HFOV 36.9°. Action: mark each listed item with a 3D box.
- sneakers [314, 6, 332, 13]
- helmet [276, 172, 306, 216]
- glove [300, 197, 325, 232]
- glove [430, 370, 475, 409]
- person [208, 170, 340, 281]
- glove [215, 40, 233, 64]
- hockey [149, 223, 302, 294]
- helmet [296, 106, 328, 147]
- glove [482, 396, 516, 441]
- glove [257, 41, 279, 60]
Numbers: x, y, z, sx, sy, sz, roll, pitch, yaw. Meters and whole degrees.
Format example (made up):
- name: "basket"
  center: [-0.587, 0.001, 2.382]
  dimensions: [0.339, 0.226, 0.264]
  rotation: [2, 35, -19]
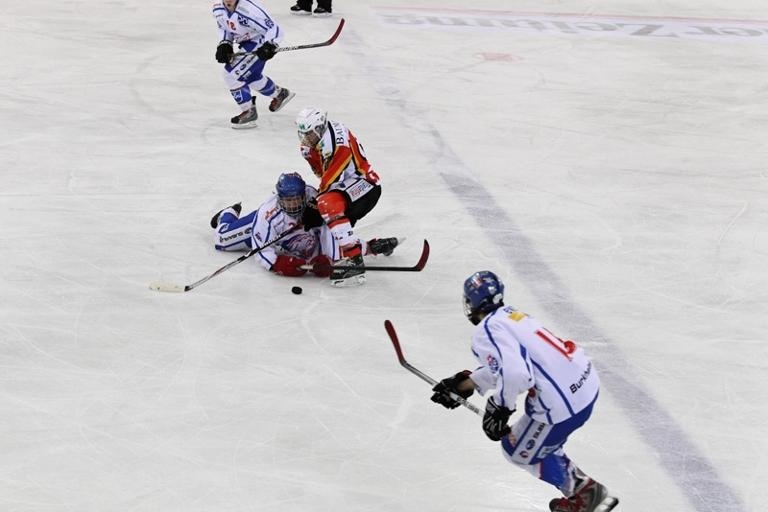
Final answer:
- name: "sneakers"
  center: [-0.967, -3.900, 17.968]
  dimensions: [0.271, 0.150, 0.136]
  rotation: [-2, 42, -1]
- name: "helmet"
  center: [-0.823, -0.567, 10.413]
  dimensions: [0.380, 0.370, 0.355]
  rotation: [-5, 49, -5]
- name: "glove"
  center: [-0.654, -0.371, 10.538]
  dimensions: [0.252, 0.122, 0.261]
  rotation: [-23, 87, 4]
- name: "glove"
  center: [0.506, 1.004, 8.533]
  dimensions: [0.381, 0.302, 0.121]
  rotation: [11, 64, -2]
- name: "person"
  center: [-1.133, -0.305, 10.854]
  dimensions: [0.807, 0.688, 1.431]
  rotation: [-29, 24, -21]
- name: "glove"
  center: [-1.818, -2.355, 13.107]
  dimensions: [0.185, 0.225, 0.343]
  rotation: [-4, 39, -2]
- name: "hockey"
  center: [-1.407, 0.038, 10.471]
  dimensions: [1.705, 0.120, 0.225]
  rotation: [-18, 67, -20]
- name: "helmet"
  center: [-0.648, -1.190, 10.418]
  dimensions: [0.257, 0.340, 0.245]
  rotation: [5, 44, 7]
- name: "glove"
  center: [0.800, 1.214, 8.372]
  dimensions: [0.216, 0.412, 0.177]
  rotation: [28, 53, 27]
- name: "glove"
  center: [-1.283, -2.366, 13.016]
  dimensions: [0.257, 0.098, 0.163]
  rotation: [-33, 79, -2]
